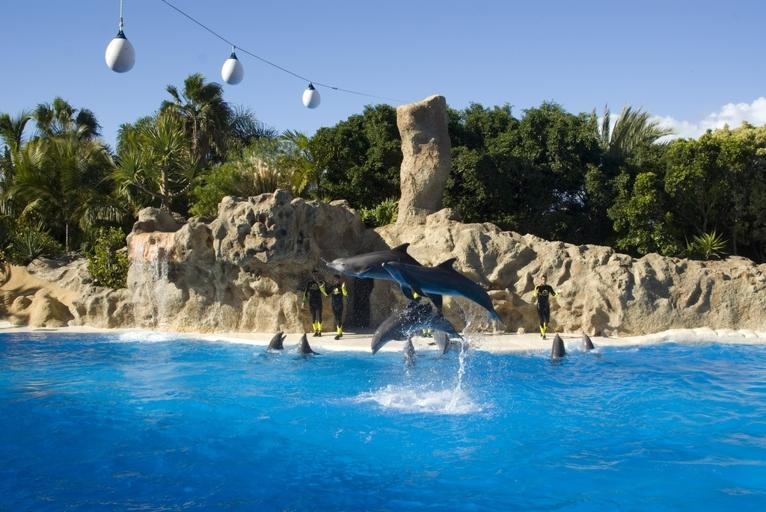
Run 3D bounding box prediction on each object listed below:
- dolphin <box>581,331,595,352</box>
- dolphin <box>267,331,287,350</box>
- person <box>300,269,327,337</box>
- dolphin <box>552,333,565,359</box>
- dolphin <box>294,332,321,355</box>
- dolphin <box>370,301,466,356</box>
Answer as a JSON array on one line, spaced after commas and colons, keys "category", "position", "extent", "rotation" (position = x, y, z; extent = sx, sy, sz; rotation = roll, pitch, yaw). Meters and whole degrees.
[{"category": "dolphin", "position": [5.563, 2.319, 19.187], "extent": [0.267, 0.578, 0.217], "rotation": [-13, -9, 25]}, {"category": "dolphin", "position": [-2.893, 2.350, 19.265], "extent": [0.321, 0.688, 0.275], "rotation": [9, -7, 28]}, {"category": "person", "position": [-2.046, 1.385, 20.620], "extent": [0.680, 1.879, 1.151], "rotation": [2, -4, -7]}, {"category": "dolphin", "position": [4.581, 2.357, 18.459], "extent": [0.257, 0.689, 0.352], "rotation": [-3, -12, 8]}, {"category": "dolphin", "position": [-2.102, 2.392, 18.796], "extent": [0.755, 0.471, 0.337], "rotation": [21, -8, -37]}, {"category": "dolphin", "position": [0.807, 1.502, 15.879], "extent": [2.478, 1.196, 0.749], "rotation": [-11, -1, -27]}]
